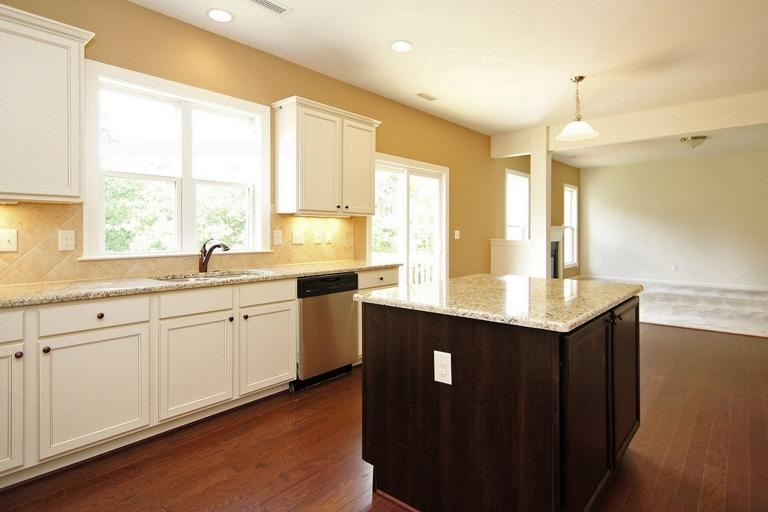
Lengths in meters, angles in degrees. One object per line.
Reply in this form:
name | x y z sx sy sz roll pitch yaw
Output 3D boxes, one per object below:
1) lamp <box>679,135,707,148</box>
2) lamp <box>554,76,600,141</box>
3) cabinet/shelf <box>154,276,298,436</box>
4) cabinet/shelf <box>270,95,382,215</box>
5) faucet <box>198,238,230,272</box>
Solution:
lamp | 4.895 -1.821 7.855 0.316 0.111 0.316 0 0 14
lamp | 2.008 -1.537 5.140 0.429 0.617 0.425 -24 28 -24
cabinet/shelf | -1.480 0.771 4.490 0.679 1.105 1.342 4 6 41
cabinet/shelf | -0.632 -0.987 5.386 0.468 1.144 1.296 1 2 36
faucet | -1.608 0.000 4.641 0.260 0.305 0.328 -1 3 -21
